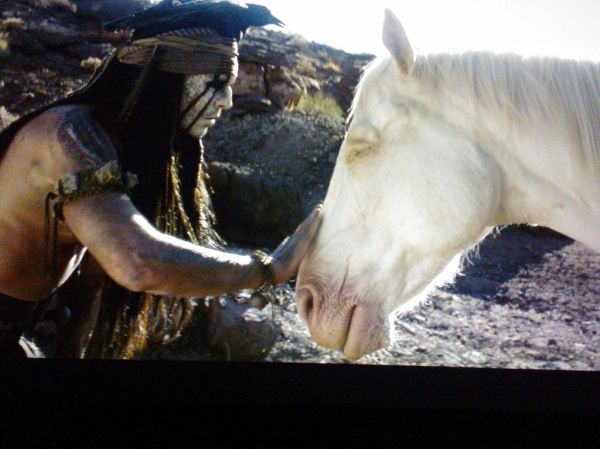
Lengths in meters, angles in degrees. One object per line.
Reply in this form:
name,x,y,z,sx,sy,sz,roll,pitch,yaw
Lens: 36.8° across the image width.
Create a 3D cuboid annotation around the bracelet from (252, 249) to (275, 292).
bracelet,-0.112,0.135,2.627,0.082,0.104,0.037,-14,-7,-15
